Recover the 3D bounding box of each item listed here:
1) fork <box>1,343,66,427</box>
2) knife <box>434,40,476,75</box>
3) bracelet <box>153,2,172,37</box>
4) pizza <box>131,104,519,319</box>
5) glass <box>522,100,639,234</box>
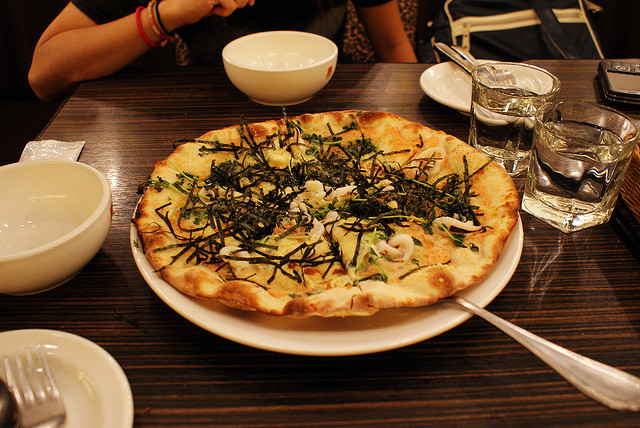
[{"bbox_3d":[-0.751,0.452,1.257,0.096,0.038,0.247,-17,59,-14],"label":"fork"},{"bbox_3d":[0.658,-0.780,2.347,0.077,0.030,0.378,-43,49,2],"label":"knife"},{"bbox_3d":[-0.821,-0.981,2.394,0.030,0.120,0.119,-13,44,3],"label":"bracelet"},{"bbox_3d":[0.025,-0.061,1.592,1.264,0.242,0.911,-4,57,0],"label":"pizza"},{"bbox_3d":[0.885,-0.139,1.571,0.330,0.333,0.298,-11,44,-8],"label":"glass"}]
